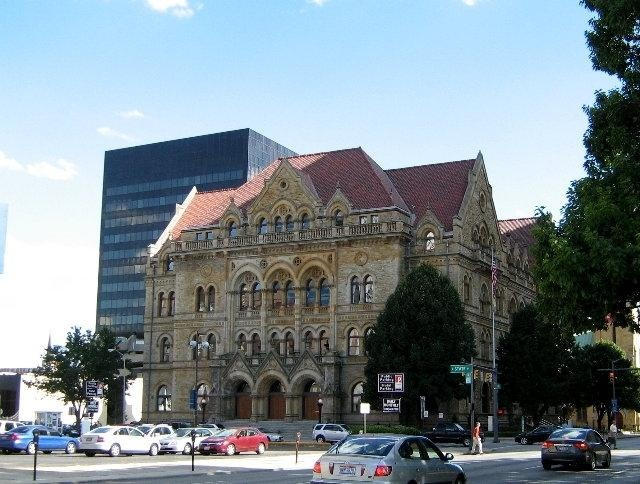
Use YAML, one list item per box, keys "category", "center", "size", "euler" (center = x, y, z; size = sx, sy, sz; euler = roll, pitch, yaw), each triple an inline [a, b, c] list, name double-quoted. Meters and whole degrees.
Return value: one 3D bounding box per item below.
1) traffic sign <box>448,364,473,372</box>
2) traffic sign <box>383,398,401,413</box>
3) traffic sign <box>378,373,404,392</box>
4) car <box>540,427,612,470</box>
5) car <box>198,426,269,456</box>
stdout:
- category: "traffic sign"
  center: [10.318, 9.332, 63.645]
  size: [0.790, 0.756, 1.659]
  euler: [13, -23, -43]
- category: "traffic sign"
  center: [4.627, 10.572, 55.867]
  size: [1.354, 1.340, 0.517]
  euler: [-2, -6, 13]
- category: "traffic sign"
  center: [4.588, 9.130, 56.055]
  size: [1.369, 1.100, 0.200]
  euler: [-9, -26, 26]
- category: "car"
  center: [11.871, 9.635, 40.321]
  size: [3.441, 1.918, 1.663]
  euler: [10, -19, -35]
- category: "car"
  center: [-5.013, 12.041, 52.239]
  size: [4.156, 1.732, 1.793]
  euler: [13, -21, -41]
